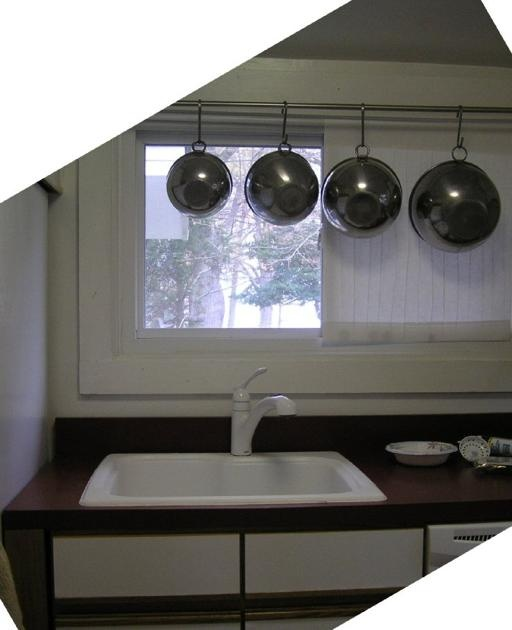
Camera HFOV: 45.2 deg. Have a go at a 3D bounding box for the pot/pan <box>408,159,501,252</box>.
[{"bbox_3d":[0.192,-0.106,0.605,0.088,0.087,0.046,5,5,-9],"label":"pot/pan"}]
